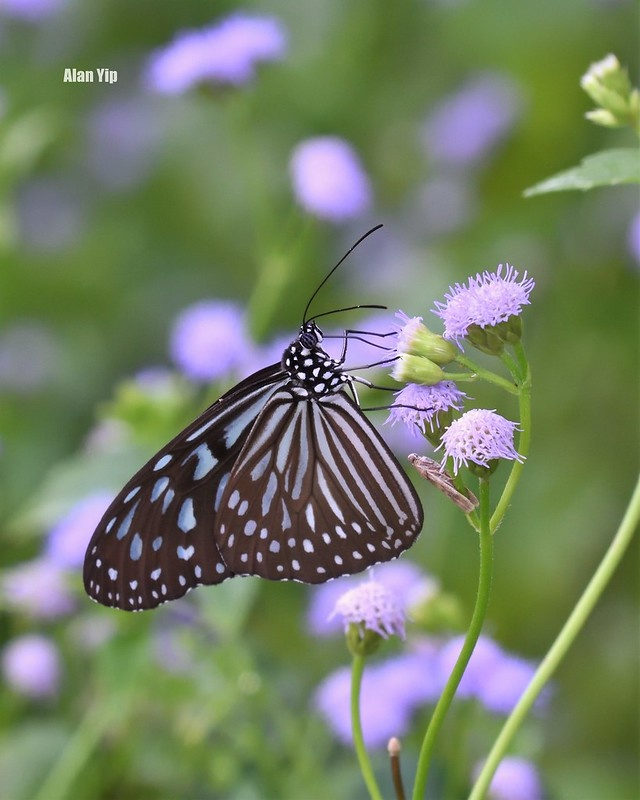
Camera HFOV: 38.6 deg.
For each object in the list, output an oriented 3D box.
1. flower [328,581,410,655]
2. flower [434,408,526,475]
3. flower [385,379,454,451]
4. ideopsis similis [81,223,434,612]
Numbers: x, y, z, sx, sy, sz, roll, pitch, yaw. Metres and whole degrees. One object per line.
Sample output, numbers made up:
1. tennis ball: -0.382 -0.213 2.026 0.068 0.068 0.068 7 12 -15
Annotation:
1. flower: 0.055 0.239 1.033 0.079 0.080 0.076 -8 85 -3
2. flower: 0.162 0.038 0.910 0.079 0.070 0.063 -1 80 39
3. flower: 0.127 0.009 0.950 0.059 0.059 0.053 -19 76 52
4. ideopsis similis: -0.068 0.034 1.266 0.565 0.362 0.459 -15 90 39
